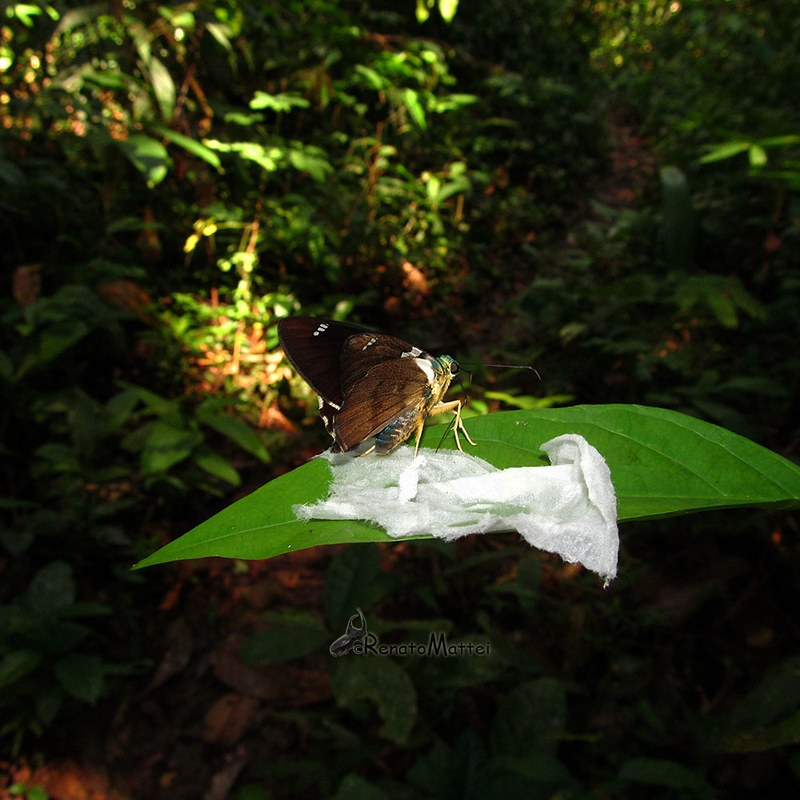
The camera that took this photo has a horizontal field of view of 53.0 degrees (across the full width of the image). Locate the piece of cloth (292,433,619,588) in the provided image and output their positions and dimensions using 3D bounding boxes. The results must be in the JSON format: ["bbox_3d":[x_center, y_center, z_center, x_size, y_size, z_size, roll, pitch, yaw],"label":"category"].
[{"bbox_3d":[0.112,0.302,2.335,0.896,0.235,0.497,7,14,-2],"label":"piece of cloth"}]
